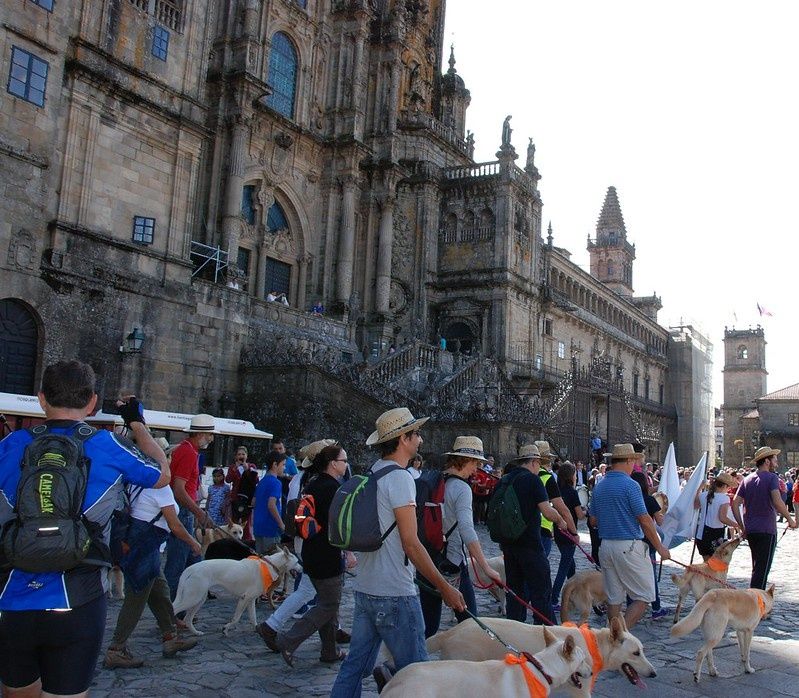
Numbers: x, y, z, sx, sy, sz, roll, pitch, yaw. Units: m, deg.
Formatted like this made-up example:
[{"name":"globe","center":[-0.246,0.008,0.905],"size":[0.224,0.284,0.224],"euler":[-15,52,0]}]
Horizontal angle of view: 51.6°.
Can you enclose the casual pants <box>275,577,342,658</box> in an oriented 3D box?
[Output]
[{"name":"casual pants","center":[-0.749,2.538,7.815],"size":[0.456,0.866,0.675],"euler":[1,-9,25]}]

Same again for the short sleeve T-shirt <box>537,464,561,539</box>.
[{"name":"short sleeve T-shirt","center":[1.723,1.751,9.526],"size":[0.236,0.680,0.710],"euler":[12,-17,0]}]

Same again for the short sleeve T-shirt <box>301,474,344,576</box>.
[{"name":"short sleeve T-shirt","center":[-0.687,1.639,7.652],"size":[0.421,0.956,0.388],"euler":[5,-8,-7]}]

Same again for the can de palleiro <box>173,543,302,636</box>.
[{"name":"can de palleiro","center":[-1.701,2.520,8.621],"size":[1.292,0.915,0.372],"euler":[8,-16,-23]}]

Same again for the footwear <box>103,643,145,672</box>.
[{"name":"footwear","center":[-2.500,2.784,7.518],"size":[0.398,0.274,0.156],"euler":[1,-5,-15]}]

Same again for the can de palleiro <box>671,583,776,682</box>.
[{"name":"can de palleiro","center":[3.155,2.693,8.039],"size":[1.550,0.878,0.313],"euler":[6,-7,-31]}]

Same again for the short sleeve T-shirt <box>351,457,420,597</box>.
[{"name":"short sleeve T-shirt","center":[-0.066,1.273,5.904],"size":[0.437,0.969,0.437],"euler":[4,-8,1]}]

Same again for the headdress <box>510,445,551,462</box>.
[{"name":"headdress","center":[1.522,1.110,8.983],"size":[0.423,0.156,0.386],"euler":[-5,-1,-33]}]

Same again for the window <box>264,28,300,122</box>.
[{"name":"window","center":[-4.871,-11.220,33.860],"size":[0.122,3.170,1.816],"euler":[3,-3,25]}]

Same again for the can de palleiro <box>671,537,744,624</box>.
[{"name":"can de palleiro","center":[3.668,2.803,9.971],"size":[1.456,0.932,0.369],"euler":[6,-8,-42]}]

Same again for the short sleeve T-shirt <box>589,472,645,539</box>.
[{"name":"short sleeve T-shirt","center":[2.357,1.673,8.821],"size":[0.416,0.681,0.755],"euler":[19,-25,-34]}]

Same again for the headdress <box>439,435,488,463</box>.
[{"name":"headdress","center":[0.703,0.943,7.784],"size":[0.281,0.142,0.274],"euler":[20,-16,-33]}]

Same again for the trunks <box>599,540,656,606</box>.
[{"name":"trunks","center":[2.360,2.305,8.600],"size":[0.482,0.880,0.621],"euler":[11,-16,-43]}]

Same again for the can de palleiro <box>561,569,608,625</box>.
[{"name":"can de palleiro","center":[1.959,2.617,8.848],"size":[0.281,0.581,0.939],"euler":[0,-3,35]}]

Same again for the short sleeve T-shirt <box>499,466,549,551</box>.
[{"name":"short sleeve T-shirt","center":[1.272,1.611,8.385],"size":[0.487,0.823,0.355],"euler":[2,-8,20]}]

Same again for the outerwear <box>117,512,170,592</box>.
[{"name":"outerwear","center":[-2.375,1.895,7.612],"size":[0.388,0.528,0.339],"euler":[-18,-31,38]}]

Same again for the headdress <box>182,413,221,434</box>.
[{"name":"headdress","center":[-2.152,0.816,9.087],"size":[0.264,0.225,0.453],"euler":[7,-8,-15]}]

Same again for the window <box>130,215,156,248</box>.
[{"name":"window","center":[-6.566,-3.008,21.201],"size":[0.779,1.030,0.175],"euler":[9,-23,-41]}]

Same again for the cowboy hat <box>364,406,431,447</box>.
[{"name":"cowboy hat","center":[-0.029,0.660,6.195],"size":[0.355,0.127,0.314],"euler":[-35,-5,15]}]
